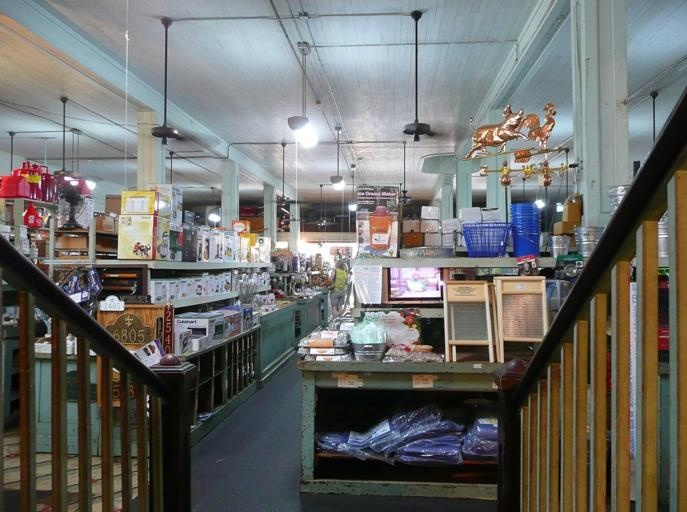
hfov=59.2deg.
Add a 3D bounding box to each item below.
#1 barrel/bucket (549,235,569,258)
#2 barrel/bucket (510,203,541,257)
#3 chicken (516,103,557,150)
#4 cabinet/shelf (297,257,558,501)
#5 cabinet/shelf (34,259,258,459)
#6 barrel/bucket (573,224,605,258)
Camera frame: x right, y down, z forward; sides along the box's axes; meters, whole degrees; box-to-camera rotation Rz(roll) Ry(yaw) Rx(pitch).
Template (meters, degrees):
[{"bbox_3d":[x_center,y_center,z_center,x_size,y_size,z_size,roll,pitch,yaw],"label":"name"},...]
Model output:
[{"bbox_3d":[1.858,-0.091,5.205,0.170,0.186,0.179,1,-6,0],"label":"barrel/bucket"},{"bbox_3d":[1.635,-0.238,5.436,0.247,0.475,0.428,0,2,15],"label":"barrel/bucket"},{"bbox_3d":[1.880,-1.264,5.888,0.295,0.491,0.541,0,2,16],"label":"chicken"},{"bbox_3d":[0.777,0.280,5.115,1.981,1.153,1.973,6,19,25],"label":"cabinet/shelf"},{"bbox_3d":[-1.925,0.468,6.037,1.353,1.225,2.910,1,0,4],"label":"cabinet/shelf"},{"bbox_3d":[1.946,-0.112,4.804,0.218,0.248,0.155,1,3,36],"label":"barrel/bucket"}]
